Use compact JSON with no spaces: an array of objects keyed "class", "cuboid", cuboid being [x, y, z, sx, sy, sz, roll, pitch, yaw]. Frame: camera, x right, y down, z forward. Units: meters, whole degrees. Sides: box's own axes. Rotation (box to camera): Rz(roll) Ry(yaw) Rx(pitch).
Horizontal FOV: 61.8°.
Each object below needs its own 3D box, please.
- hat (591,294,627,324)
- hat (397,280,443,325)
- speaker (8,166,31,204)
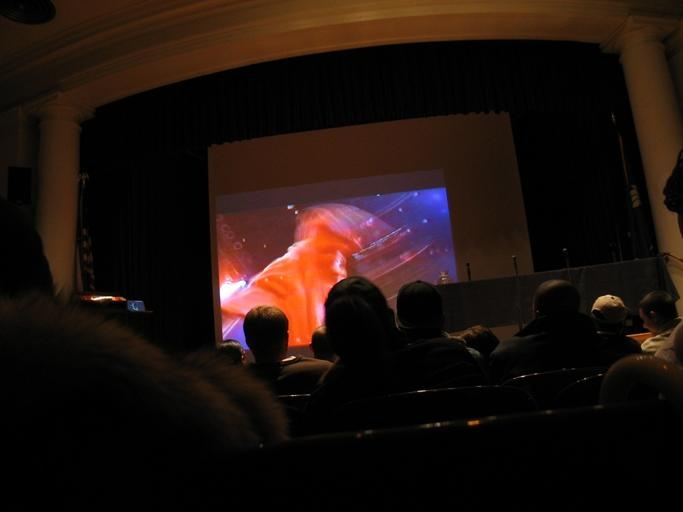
[{"class":"hat","cuboid":[1.200,0.230,2.558,0.148,0.122,0.108,25,-8,-38]},{"class":"hat","cuboid":[0.253,0.158,1.840,0.106,0.097,0.162,0,27,4]},{"class":"speaker","cuboid":[-2.443,-0.548,4.346,0.145,0.382,0.368,0,-9,-31]}]
